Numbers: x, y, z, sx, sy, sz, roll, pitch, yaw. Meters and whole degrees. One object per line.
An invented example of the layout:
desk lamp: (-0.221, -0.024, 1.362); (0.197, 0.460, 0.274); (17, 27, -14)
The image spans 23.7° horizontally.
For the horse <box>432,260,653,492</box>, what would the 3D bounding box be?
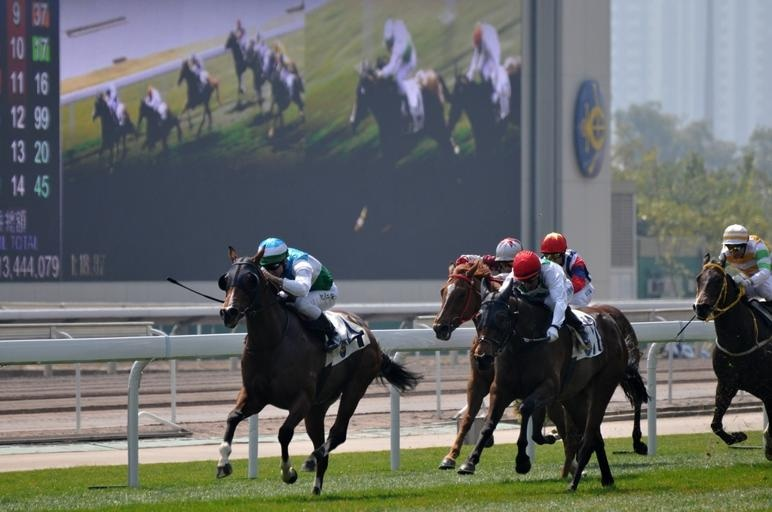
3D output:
horse: (2.756, 1.981, 32.378); (1.276, 3.876, 3.741); (1, 0, 14)

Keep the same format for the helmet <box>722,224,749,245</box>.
helmet: (6.370, -0.408, 33.518); (0.448, 0.358, 0.296); (-2, -2, 10)
